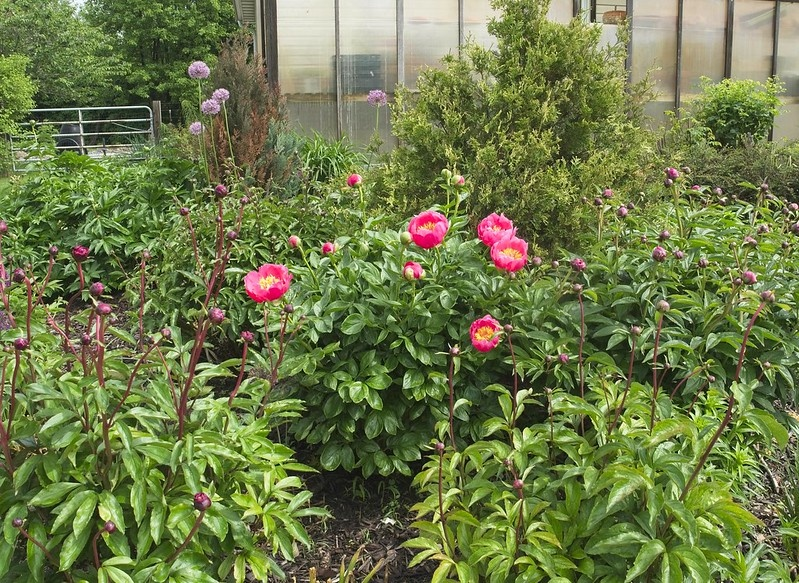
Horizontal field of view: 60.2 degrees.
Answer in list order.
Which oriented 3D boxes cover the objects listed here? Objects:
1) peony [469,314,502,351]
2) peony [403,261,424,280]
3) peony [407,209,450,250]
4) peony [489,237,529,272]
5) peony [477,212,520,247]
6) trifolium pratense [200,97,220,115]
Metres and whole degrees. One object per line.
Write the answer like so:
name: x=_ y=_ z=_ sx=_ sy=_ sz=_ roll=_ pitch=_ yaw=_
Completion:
peony: x=0.383 y=0.188 z=3.060 sx=0.119 sy=0.174 sz=0.099 roll=0 pitch=-9 yaw=-3
peony: x=0.069 y=-0.097 z=3.303 sx=0.077 sy=0.077 sz=0.092 roll=3 pitch=-1 yaw=-6
peony: x=0.144 y=-0.292 z=3.476 sx=0.177 sy=0.238 sz=0.283 roll=-1 pitch=15 yaw=2
peony: x=0.512 y=-0.207 z=3.212 sx=0.130 sy=0.117 sz=0.178 roll=-3 pitch=49 yaw=-3
peony: x=0.465 y=-0.302 z=3.353 sx=0.139 sy=0.189 sz=0.111 roll=0 pitch=-25 yaw=4
trifolium pratense: x=-1.693 y=-1.638 z=6.166 sx=0.144 sy=0.138 sz=0.341 roll=-5 pitch=17 yaw=-14
